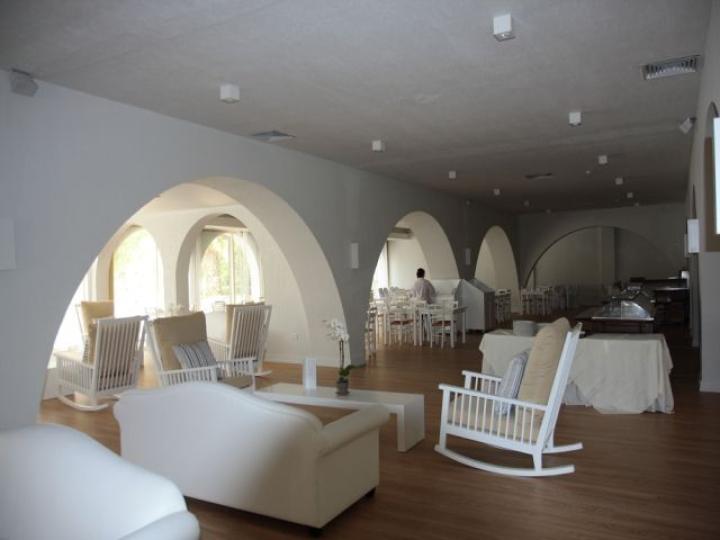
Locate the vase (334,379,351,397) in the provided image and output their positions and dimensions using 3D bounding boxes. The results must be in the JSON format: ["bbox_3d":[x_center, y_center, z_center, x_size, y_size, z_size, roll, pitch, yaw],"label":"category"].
[{"bbox_3d":[-0.172,1.137,4.838,0.143,0.169,0.148,-1,-1,28],"label":"vase"}]

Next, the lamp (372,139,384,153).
[{"bbox_3d":[0.244,-1.678,6.716,0.117,0.195,0.173,8,6,7],"label":"lamp"}]

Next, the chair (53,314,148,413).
[{"bbox_3d":[-3.451,1.192,6.495,1.099,1.129,0.744,1,0,25],"label":"chair"}]

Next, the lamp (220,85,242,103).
[{"bbox_3d":[-1.236,-1.656,4.698,0.140,0.129,0.156,-7,-10,34],"label":"lamp"}]

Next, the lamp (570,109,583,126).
[{"bbox_3d":[2.475,-1.738,5.636,0.156,0.183,0.169,2,2,15],"label":"lamp"}]

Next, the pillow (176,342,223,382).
[{"bbox_3d":[-1.844,0.948,5.543,0.319,0.258,0.436,-1,-2,39],"label":"pillow"}]

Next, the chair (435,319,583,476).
[{"bbox_3d":[1.308,1.084,4.504,1.137,1.303,0.784,1,7,18],"label":"chair"}]

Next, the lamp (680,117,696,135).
[{"bbox_3d":[4.138,-1.812,6.213,0.103,0.211,0.049,33,-8,8],"label":"lamp"}]

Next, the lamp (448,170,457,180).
[{"bbox_3d":[1.712,-1.731,9.049,0.118,0.139,0.095,0,6,4],"label":"lamp"}]

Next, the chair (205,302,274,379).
[{"bbox_3d":[-1.857,1.071,7.350,1.021,1.181,0.674,5,7,40],"label":"chair"}]

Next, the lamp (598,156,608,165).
[{"bbox_3d":[4.037,-1.811,8.181,0.082,0.181,0.119,5,-6,-34],"label":"lamp"}]

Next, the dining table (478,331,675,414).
[{"bbox_3d":[2.598,0.949,5.871,1.759,0.765,1.117,0,-1,27],"label":"dining table"}]

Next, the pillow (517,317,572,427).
[{"bbox_3d":[1.659,0.944,4.384,0.258,0.626,0.850,13,36,30],"label":"pillow"}]

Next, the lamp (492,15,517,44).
[{"bbox_3d":[1.085,-1.785,3.689,0.150,0.167,0.129,3,15,37],"label":"lamp"}]

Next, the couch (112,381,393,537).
[{"bbox_3d":[-0.905,1.244,3.890,1.811,0.993,0.871,0,5,22],"label":"couch"}]
